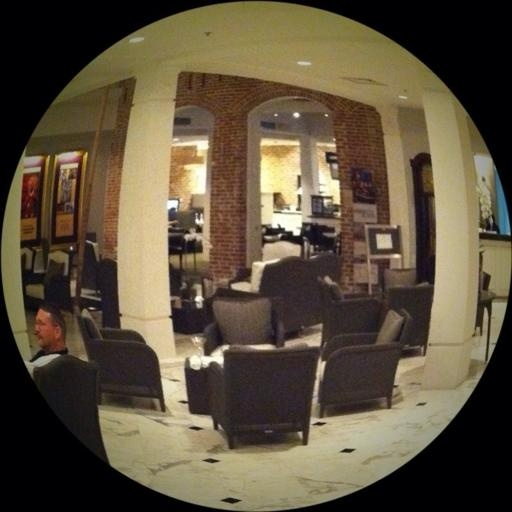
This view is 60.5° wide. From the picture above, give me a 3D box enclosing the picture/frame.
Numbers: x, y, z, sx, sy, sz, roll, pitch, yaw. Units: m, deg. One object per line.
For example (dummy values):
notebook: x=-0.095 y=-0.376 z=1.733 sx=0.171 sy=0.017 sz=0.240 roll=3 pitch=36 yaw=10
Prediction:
picture/frame: x=-0.889 y=-0.252 z=1.958 sx=0.404 sy=0.534 sz=0.027 roll=-2 pitch=-8 yaw=18
